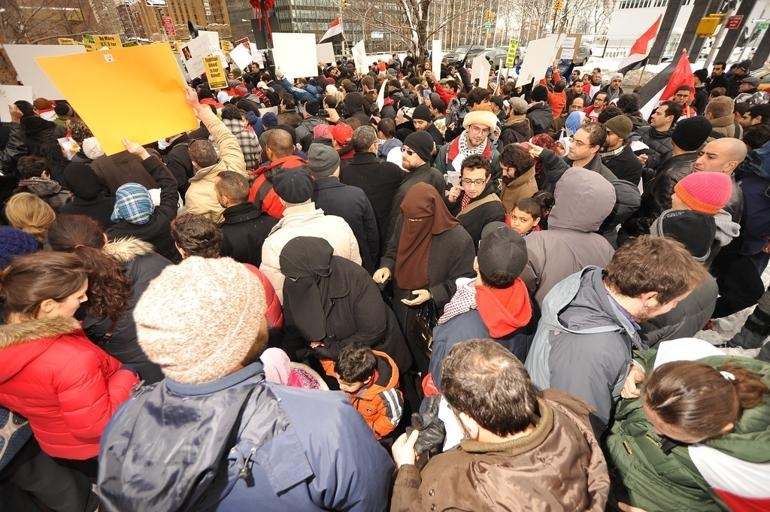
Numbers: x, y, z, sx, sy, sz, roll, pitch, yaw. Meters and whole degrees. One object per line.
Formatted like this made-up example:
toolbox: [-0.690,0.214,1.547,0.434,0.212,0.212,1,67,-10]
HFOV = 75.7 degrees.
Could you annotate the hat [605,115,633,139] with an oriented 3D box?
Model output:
hat: [3.554,-1.860,7.447,0.398,0.246,0.295,22,40,-24]

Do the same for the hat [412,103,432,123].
hat: [0.671,-2.453,8.805,0.298,0.299,0.324,8,31,4]

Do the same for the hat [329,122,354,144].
hat: [-0.698,-1.931,7.916,0.274,0.237,0.408,-16,60,-20]

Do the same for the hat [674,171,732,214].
hat: [3.641,-0.731,5.551,0.417,0.358,0.561,-40,40,-22]

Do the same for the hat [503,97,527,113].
hat: [2.475,-2.755,9.185,0.286,0.187,0.375,9,70,-2]
